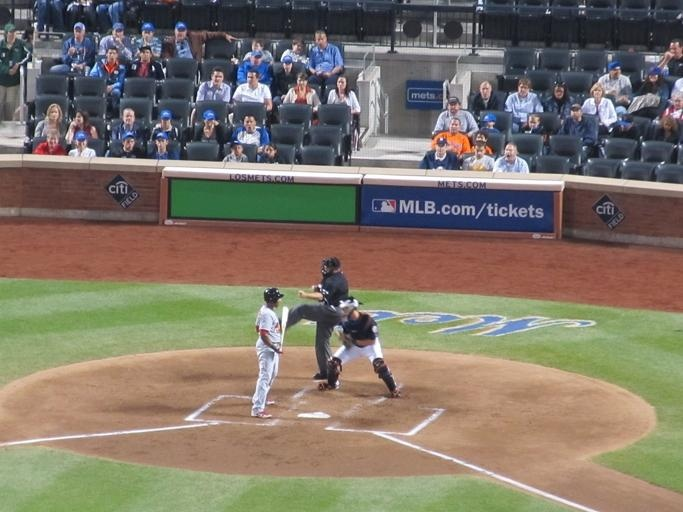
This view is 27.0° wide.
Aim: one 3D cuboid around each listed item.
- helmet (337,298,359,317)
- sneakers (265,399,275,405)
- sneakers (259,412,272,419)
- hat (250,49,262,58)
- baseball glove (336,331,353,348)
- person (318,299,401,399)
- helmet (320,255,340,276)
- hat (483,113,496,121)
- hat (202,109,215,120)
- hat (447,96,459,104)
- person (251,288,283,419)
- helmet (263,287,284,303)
[{"bbox_3d":[0.133,0.830,22.591,0.287,0.351,0.475,1,8,0],"label":"helmet"},{"bbox_3d":[-1.094,2.300,22.232,0.053,0.064,0.146,11,12,44],"label":"sneakers"},{"bbox_3d":[-1.133,2.437,21.703,0.224,0.092,0.080,0,11,5],"label":"sneakers"},{"bbox_3d":[-2.028,-4.920,34.583,0.258,0.178,0.501,0,8,-5],"label":"hat"},{"bbox_3d":[0.060,1.316,22.527,0.175,0.284,0.078,-39,21,-17],"label":"baseball glove"},{"bbox_3d":[0.269,1.595,23.227,1.348,1.426,0.770,8,14,38],"label":"person"},{"bbox_3d":[-0.157,0.142,23.085,0.313,0.298,0.265,24,24,37],"label":"helmet"},{"bbox_3d":[3.457,-3.223,33.101,0.267,0.186,0.441,2,8,9],"label":"hat"},{"bbox_3d":[-3.108,-3.239,32.610,0.278,0.200,0.442,-3,11,-13],"label":"hat"},{"bbox_3d":[2.605,-3.636,33.008,0.269,0.172,0.381,0,-12,8],"label":"hat"},{"bbox_3d":[-1.146,1.440,22.027,0.463,1.942,1.051,0,8,-3],"label":"person"},{"bbox_3d":[-0.993,0.608,21.774,0.220,0.158,0.315,23,33,35],"label":"helmet"}]
